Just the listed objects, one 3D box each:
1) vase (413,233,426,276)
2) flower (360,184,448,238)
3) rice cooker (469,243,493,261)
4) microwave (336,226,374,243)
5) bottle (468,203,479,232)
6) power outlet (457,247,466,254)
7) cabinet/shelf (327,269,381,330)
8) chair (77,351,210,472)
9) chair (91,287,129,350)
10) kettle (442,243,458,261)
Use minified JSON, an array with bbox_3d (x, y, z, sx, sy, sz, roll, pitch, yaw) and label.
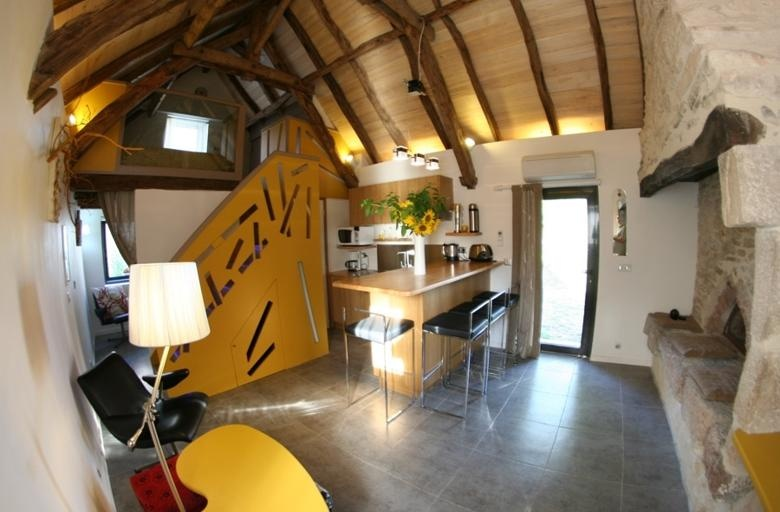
[{"bbox_3d":[0.347,-0.015,6.060,0.136,0.471,0.254,-2,4,2],"label":"vase"},{"bbox_3d":[0.131,-0.433,6.262,1.033,0.633,0.761,11,21,20],"label":"flower"},{"bbox_3d":[1.257,-0.049,7.079,0.326,0.231,0.180,-1,4,11],"label":"rice cooker"},{"bbox_3d":[-0.565,-0.350,8.517,0.477,0.317,0.312,-1,-1,25],"label":"microwave"},{"bbox_3d":[1.189,-0.529,7.128,0.158,0.392,0.143,-2,4,-3],"label":"bottle"},{"bbox_3d":[1.042,-0.082,7.354,0.126,0.089,0.039,-3,4,-14],"label":"power outlet"},{"bbox_3d":[-0.513,0.598,6.996,0.847,0.820,0.467,3,5,43],"label":"cabinet/shelf"},{"bbox_3d":[-2.190,1.418,4.718,0.934,0.899,0.709,2,14,-1],"label":"chair"},{"bbox_3d":[-4.228,0.919,8.007,0.539,0.900,0.648,1,9,29],"label":"chair"},{"bbox_3d":[0.843,-0.054,7.245,0.236,0.216,0.185,-2,4,-5],"label":"kettle"}]
